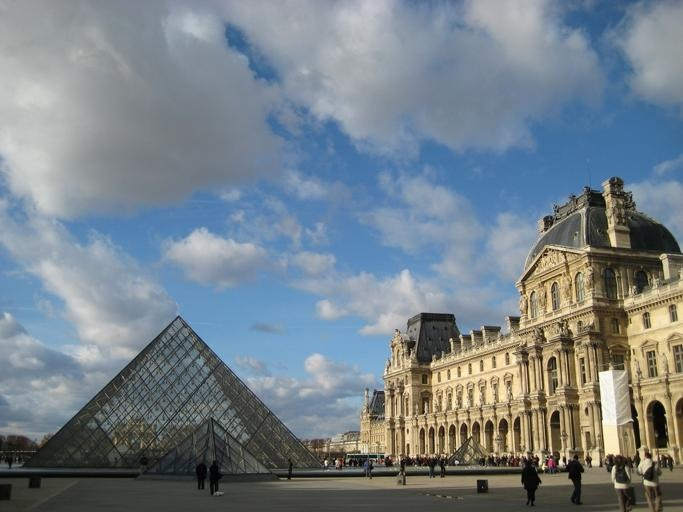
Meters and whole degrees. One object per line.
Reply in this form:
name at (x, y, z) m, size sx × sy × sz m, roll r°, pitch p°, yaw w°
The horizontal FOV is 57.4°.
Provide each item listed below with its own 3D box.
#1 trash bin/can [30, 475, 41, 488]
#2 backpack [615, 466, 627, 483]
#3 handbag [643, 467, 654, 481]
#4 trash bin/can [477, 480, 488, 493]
trash bin/can at (-13.882, 10.279, 28.383) m, size 0.433 × 0.531 × 0.455 m, roll 0°, pitch -5°, yaw -2°
backpack at (8.323, 6.514, 18.545) m, size 0.298 × 0.454 × 0.253 m, roll -14°, pitch -36°, yaw 17°
handbag at (9.223, 6.523, 18.713) m, size 0.250 × 0.353 × 0.380 m, roll -5°, pitch -59°, yaw 28°
trash bin/can at (5.603, 9.173, 24.738) m, size 0.376 × 0.473 × 0.604 m, roll 3°, pitch -30°, yaw 4°
